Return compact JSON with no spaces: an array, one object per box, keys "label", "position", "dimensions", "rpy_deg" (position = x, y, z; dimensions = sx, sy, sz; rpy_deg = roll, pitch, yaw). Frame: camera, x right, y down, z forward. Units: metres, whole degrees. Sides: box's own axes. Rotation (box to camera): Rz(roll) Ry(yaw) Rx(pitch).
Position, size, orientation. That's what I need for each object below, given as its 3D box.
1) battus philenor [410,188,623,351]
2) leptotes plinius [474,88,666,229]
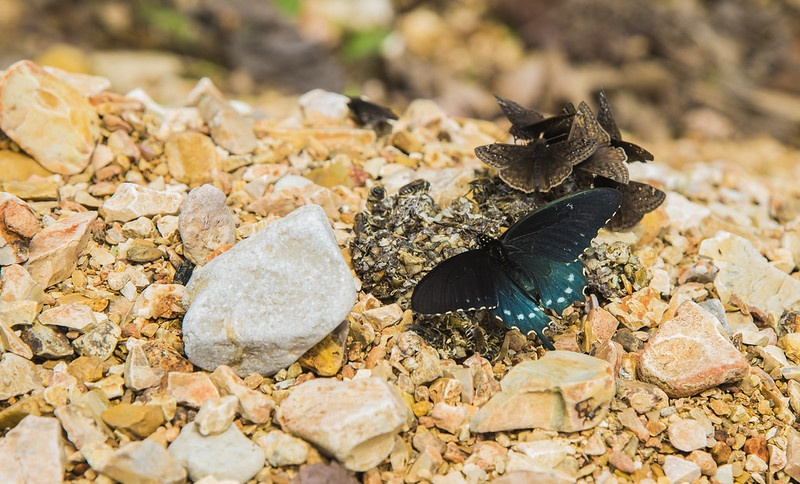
[{"label":"battus philenor","position":[0.950,0.226,5.996],"dimensions":[1.744,0.478,0.808],"rpy_deg":[-28,82,-11]},{"label":"leptotes plinius","position":[1.385,-0.708,6.333],"dimensions":[1.253,0.604,1.213],"rpy_deg":[8,66,3]}]
